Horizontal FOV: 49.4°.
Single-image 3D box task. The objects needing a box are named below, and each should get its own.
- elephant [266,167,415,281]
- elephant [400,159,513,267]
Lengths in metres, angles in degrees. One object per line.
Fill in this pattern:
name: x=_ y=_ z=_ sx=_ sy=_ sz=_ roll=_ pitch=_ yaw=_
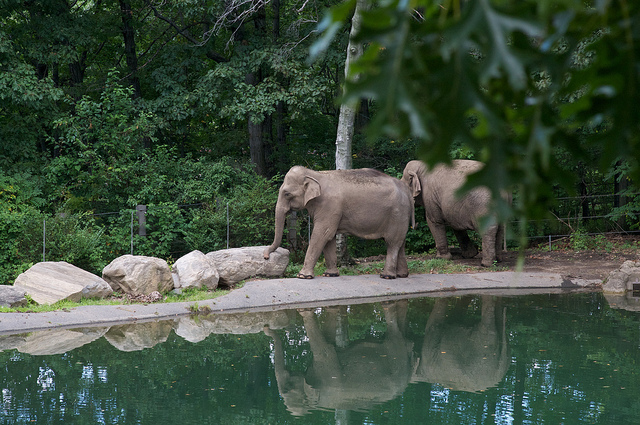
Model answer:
elephant: x=0.585 y=0.258 z=15.541 sx=3.049 sy=2.470 sz=1.124 roll=1 pitch=13 yaw=3
elephant: x=3.277 y=-0.061 z=18.195 sx=1.634 sy=2.544 sz=3.944 roll=-16 pitch=16 yaw=-40
